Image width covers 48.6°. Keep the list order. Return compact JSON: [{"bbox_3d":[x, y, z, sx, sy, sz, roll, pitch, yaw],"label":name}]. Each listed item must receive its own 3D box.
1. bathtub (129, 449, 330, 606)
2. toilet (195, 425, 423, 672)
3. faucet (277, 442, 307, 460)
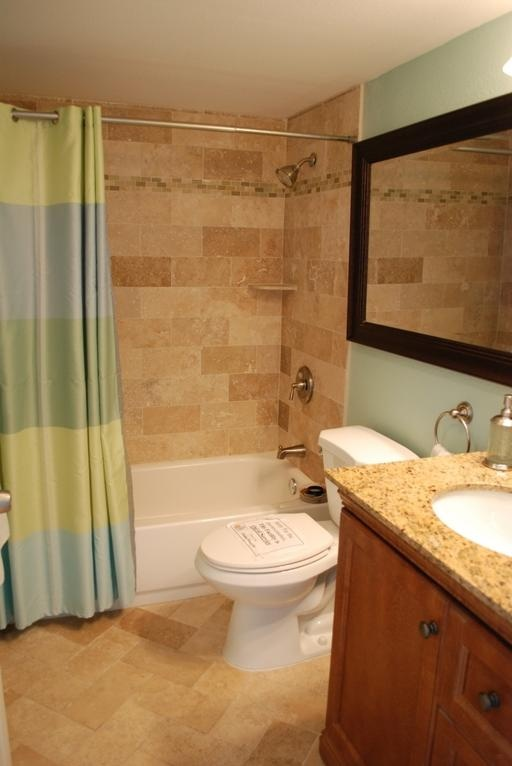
[{"bbox_3d":[-0.225,0.742,2.915,0.704,0.271,0.538,-2,10,-20],"label":"bathtub"},{"bbox_3d":[0.194,0.561,2.274,0.851,0.961,0.546,-3,8,-23],"label":"toilet"},{"bbox_3d":[0.187,0.353,2.912,0.108,0.078,0.083,3,-5,0],"label":"faucet"}]
